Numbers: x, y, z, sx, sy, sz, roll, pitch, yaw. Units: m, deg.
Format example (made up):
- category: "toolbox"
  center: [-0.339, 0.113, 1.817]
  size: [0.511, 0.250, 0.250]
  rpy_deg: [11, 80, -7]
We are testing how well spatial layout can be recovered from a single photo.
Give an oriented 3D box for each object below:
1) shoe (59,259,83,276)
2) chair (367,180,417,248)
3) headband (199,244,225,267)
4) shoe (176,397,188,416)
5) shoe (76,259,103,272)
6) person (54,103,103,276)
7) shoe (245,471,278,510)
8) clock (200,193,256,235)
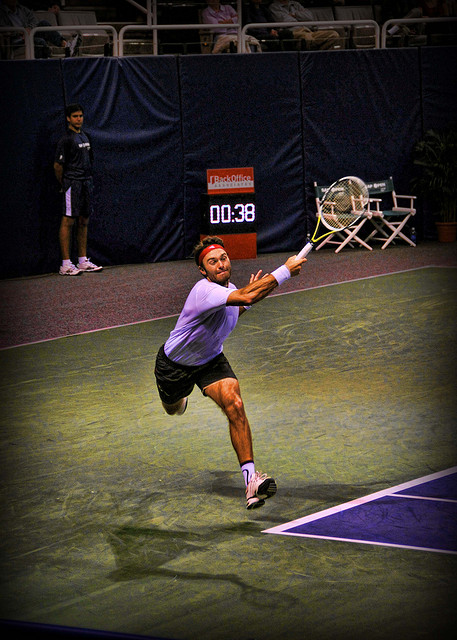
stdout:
- category: "shoe"
  center: [-3.535, -1.147, 11.915]
  size: [0.523, 0.352, 0.228]
  rpy_deg: [-2, 6, -3]
- category: "chair"
  center: [4.147, -2.632, 13.484]
  size: [1.067, 1.655, 1.463]
  rpy_deg: [1, 7, 26]
- category: "headband"
  center: [-0.110, -0.457, 3.795]
  size: [0.218, 0.148, 0.148]
  rpy_deg: [-5, 7, -31]
- category: "shoe"
  center: [-0.397, 0.748, 4.645]
  size: [0.047, 0.172, 0.191]
  rpy_deg: [16, -7, 10]
- category: "shoe"
  center: [-3.148, -1.184, 12.093]
  size: [0.664, 0.268, 0.223]
  rpy_deg: [1, 9, -2]
- category: "person"
  center: [-3.379, -2.776, 11.694]
  size: [0.876, 3.620, 0.804]
  rpy_deg: [-4, 7, -14]
- category: "shoe"
  center: [0.200, 1.033, 3.240]
  size: [0.122, 0.136, 0.269]
  rpy_deg: [12, -43, -28]
- category: "clock"
  center: [-0.106, -2.340, 12.604]
  size: [0.552, 1.277, 1.653]
  rpy_deg: [10, 17, 43]
